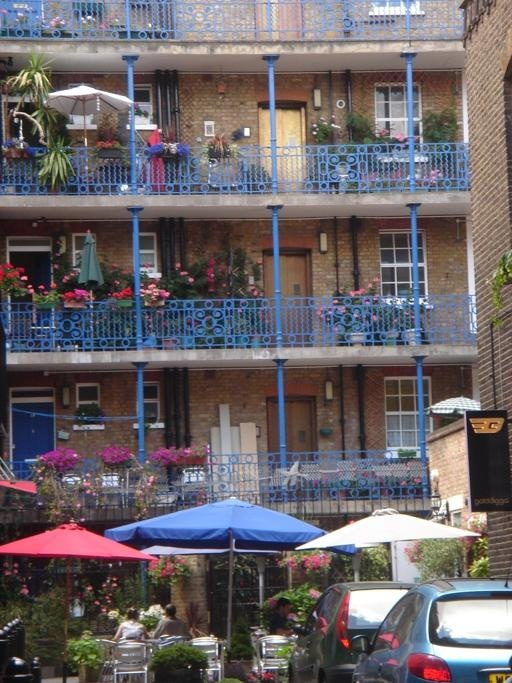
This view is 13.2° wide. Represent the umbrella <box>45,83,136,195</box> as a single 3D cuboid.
[{"bbox_3d":[-2.974,-3.915,39.059,1.522,1.720,2.295,-2,-3,-5],"label":"umbrella"}]

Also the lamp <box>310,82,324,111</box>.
[{"bbox_3d":[1.130,-4.534,40.498,0.203,0.516,0.169,-1,-3,-11],"label":"lamp"}]

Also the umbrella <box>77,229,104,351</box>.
[{"bbox_3d":[-2.862,-1.205,38.067,0.258,1.461,0.325,0,-1,-24],"label":"umbrella"}]

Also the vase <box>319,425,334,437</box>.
[{"bbox_3d":[1.257,1.633,39.565,0.176,0.117,0.181,2,-8,-21],"label":"vase"}]

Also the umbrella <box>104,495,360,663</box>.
[{"bbox_3d":[-0.507,2.629,30.032,2.267,1.693,2.476,4,-11,-10],"label":"umbrella"}]

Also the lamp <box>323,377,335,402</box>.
[{"bbox_3d":[1.331,0.896,39.706,0.188,0.403,0.268,-2,-3,-2],"label":"lamp"}]

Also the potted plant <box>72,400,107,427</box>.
[{"bbox_3d":[-2.950,1.314,38.985,0.390,0.405,0.456,8,-10,-26],"label":"potted plant"}]
